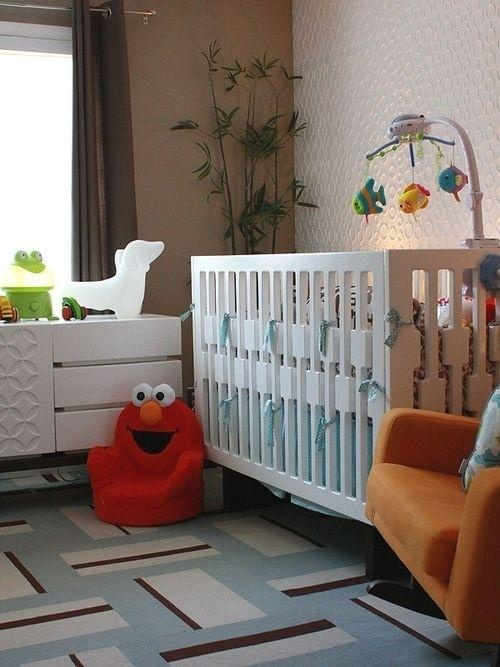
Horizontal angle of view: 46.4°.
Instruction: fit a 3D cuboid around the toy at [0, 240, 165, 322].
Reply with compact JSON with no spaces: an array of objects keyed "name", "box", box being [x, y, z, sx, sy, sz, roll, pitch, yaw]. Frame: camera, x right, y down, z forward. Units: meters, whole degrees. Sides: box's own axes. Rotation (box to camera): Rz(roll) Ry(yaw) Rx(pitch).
[{"name":"toy","box":[-0.621,-0.218,2.518,0.887,0.451,0.288,2,3,5]}]
